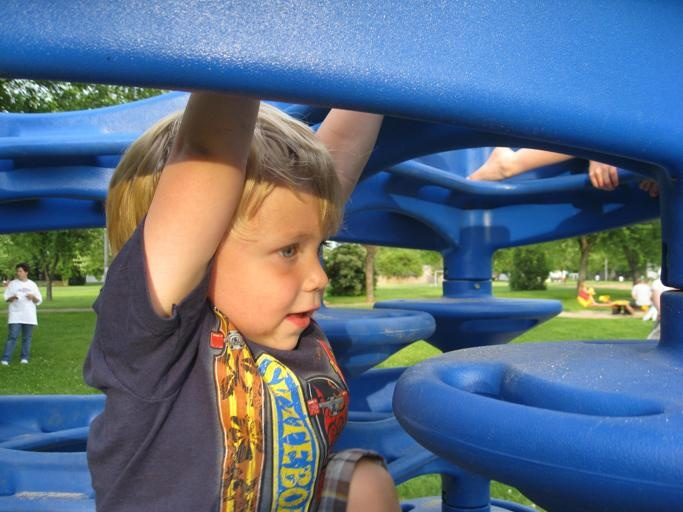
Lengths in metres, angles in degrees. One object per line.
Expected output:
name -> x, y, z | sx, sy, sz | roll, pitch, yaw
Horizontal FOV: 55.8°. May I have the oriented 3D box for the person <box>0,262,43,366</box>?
person -> -3.549, 0.626, 7.152 | 0.392, 1.104, 0.650 | 1, -3, -26
